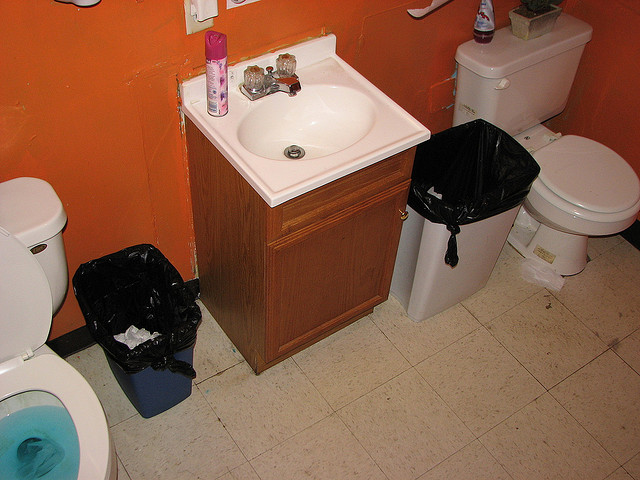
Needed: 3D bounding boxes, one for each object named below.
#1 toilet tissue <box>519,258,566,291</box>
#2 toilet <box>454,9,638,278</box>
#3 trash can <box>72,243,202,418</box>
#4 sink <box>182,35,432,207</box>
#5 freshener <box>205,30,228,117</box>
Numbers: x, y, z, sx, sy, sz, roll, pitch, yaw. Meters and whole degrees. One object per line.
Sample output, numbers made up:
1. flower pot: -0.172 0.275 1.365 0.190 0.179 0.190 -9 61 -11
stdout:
1. toilet tissue: 1.051 0.162 2.484 0.128 0.064 0.174 -20 54 -31
2. toilet: 1.004 -0.478 2.266 0.605 0.599 0.886 -24 55 -14
3. trash can: -0.644 0.391 2.022 0.426 0.679 0.398 -17 50 -22
4. sink: -0.051 -0.405 1.725 0.690 0.238 0.527 -27 56 -16
5. freshener: -0.321 -0.516 1.636 0.065 0.249 0.068 30 41 30
